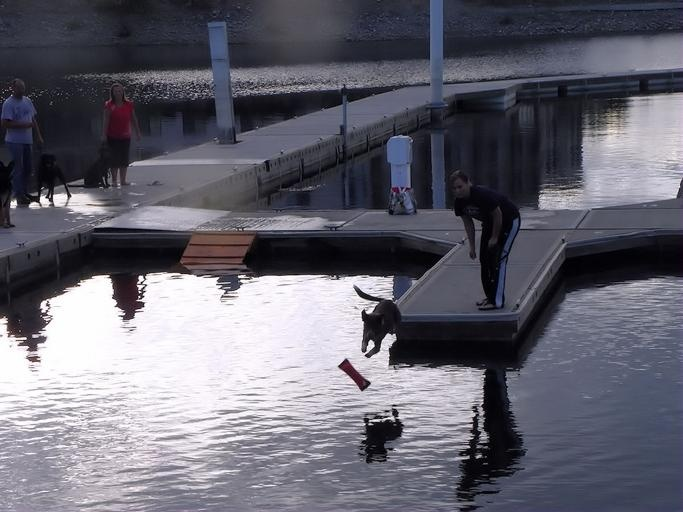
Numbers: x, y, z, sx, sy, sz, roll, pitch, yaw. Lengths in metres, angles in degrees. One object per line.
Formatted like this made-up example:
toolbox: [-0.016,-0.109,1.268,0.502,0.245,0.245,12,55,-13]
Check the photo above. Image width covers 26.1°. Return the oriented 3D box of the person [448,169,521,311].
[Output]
person: [1.719,-0.167,17.587,0.798,1.734,0.468,0,14,6]

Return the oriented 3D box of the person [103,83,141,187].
person: [-3.550,-1.995,24.010,0.539,1.705,1.544,-3,14,-8]

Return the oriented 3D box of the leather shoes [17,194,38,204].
leather shoes: [-4.859,-0.882,22.940,0.402,0.110,0.238,5,17,-5]

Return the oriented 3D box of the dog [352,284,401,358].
dog: [0.342,0.725,17.708,0.706,0.408,1.117,-1,24,10]

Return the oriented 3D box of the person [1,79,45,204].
person: [-4.929,-1.732,22.598,0.403,1.949,0.656,6,16,25]

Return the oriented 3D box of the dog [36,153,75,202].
dog: [-4.432,-1.191,22.864,0.436,0.650,1.173,-19,1,-8]
